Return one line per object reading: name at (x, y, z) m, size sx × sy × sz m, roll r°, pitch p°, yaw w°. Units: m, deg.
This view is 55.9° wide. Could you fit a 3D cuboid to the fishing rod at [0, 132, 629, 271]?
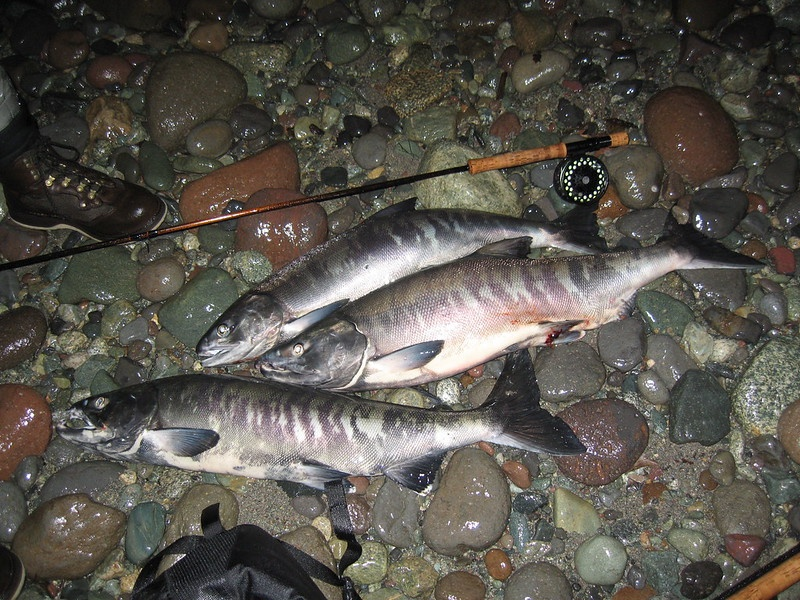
fishing rod at (-0.721, -0.874, 7.048) m, size 3.207 × 0.449 × 0.433 m, roll -14°, pitch 41°, yaw -1°
